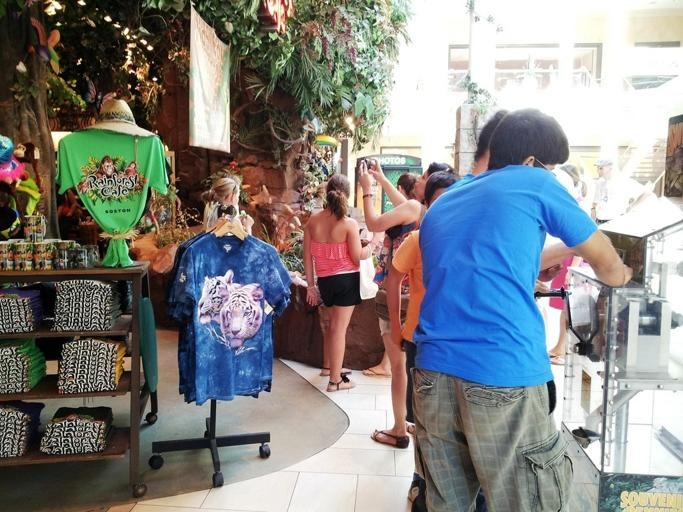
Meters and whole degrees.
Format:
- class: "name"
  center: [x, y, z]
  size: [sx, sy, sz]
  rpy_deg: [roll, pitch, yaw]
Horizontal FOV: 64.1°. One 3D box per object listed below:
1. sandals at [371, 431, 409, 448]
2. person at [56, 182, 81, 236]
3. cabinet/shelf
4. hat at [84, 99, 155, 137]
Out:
- class: "sandals"
  center: [0.375, 1.362, 4.138]
  size: [0.234, 0.065, 0.110]
  rpy_deg: [13, 20, 21]
- class: "person"
  center: [-5.570, -0.886, 11.100]
  size: [0.319, 1.132, 0.310]
  rpy_deg: [-1, -3, -18]
- class: "cabinet/shelf"
  center: [-1.882, 0.848, 4.166]
  size: [1.267, 1.551, 1.571]
  rpy_deg: [1, 2, -7]
- class: "hat"
  center: [-1.583, -0.992, 3.771]
  size: [0.375, 0.185, 0.344]
  rpy_deg: [1, 13, -12]
